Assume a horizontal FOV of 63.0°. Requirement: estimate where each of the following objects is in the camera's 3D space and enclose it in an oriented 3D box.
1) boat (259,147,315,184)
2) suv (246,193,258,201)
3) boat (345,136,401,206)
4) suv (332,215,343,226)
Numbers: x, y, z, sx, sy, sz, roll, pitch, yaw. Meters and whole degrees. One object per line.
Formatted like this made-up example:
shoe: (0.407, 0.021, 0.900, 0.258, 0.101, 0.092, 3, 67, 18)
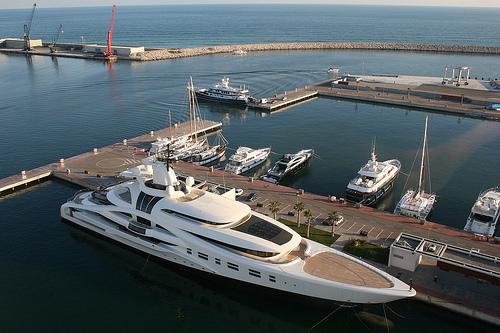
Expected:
boat: (7.625, -0.222, 87.670, 17.684, 5.032, 4.364, -23, 46, -23)
suv: (0.380, 5.654, 75.706, 2.354, 0.632, 1.133, -17, 23, -33)
boat: (25.463, 1.272, 85.026, 18.809, 9.739, 6.022, -29, 48, -25)
suv: (15.027, 9.058, 68.922, 1.634, 0.806, 2.979, 12, 23, 41)
